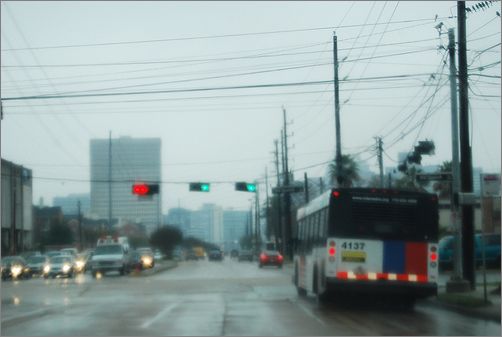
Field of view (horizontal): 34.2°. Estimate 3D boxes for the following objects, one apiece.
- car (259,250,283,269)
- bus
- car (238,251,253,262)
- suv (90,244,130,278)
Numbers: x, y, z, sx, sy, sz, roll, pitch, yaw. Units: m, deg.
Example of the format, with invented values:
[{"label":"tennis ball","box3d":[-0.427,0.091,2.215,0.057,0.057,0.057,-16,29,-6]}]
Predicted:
[{"label":"car","box3d":[1.727,7.802,70.202,1.338,1.054,2.892,0,0,-2]},{"label":"bus","box3d":[5.470,3.763,39.330,7.135,5.245,4.248,-3,-2,25]},{"label":"car","box3d":[-0.583,10.507,97.103,1.587,1.165,2.093,-2,-2,-6]},{"label":"suv","box3d":[-10.660,6.819,60.903,2.280,1.910,1.335,-2,-1,2]}]
